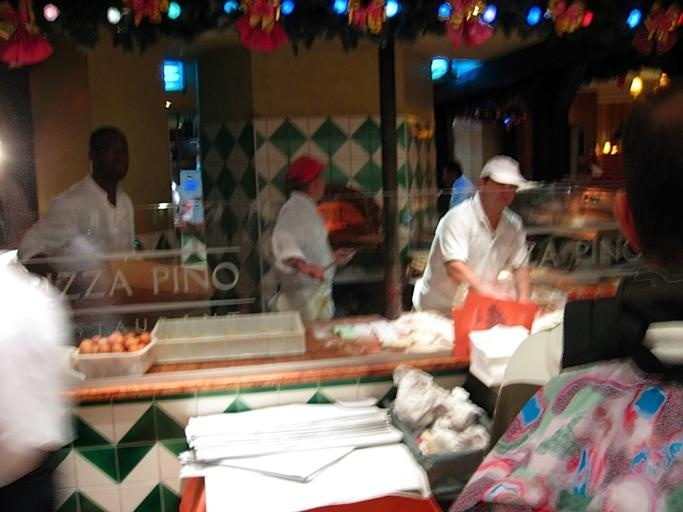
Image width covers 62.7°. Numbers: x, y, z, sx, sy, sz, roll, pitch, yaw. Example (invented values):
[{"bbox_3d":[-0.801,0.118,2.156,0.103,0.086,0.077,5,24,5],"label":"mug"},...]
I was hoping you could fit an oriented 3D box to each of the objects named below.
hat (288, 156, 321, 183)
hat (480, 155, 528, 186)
[{"bbox_3d":[-0.121,-0.275,1.787,0.092,0.077,0.042,-23,-16,26],"label":"hat"},{"bbox_3d":[0.583,-0.297,1.995,0.094,0.071,0.125,7,3,-28],"label":"hat"}]
